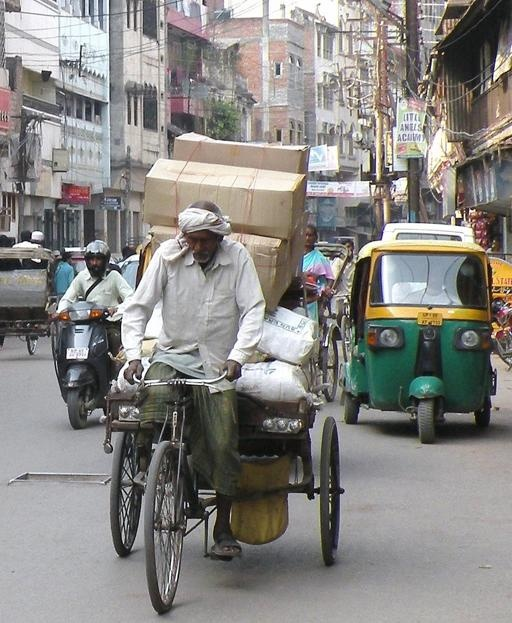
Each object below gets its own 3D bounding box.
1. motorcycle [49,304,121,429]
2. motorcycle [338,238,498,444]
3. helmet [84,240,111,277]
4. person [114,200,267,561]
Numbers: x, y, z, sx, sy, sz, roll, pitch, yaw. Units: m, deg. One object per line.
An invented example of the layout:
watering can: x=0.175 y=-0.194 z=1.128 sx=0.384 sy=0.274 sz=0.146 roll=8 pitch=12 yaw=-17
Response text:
motorcycle: x=-1.546 y=0.478 z=10.503 sx=0.574 sy=1.196 sz=1.707 roll=-1 pitch=-1 yaw=4
motorcycle: x=1.369 y=0.227 z=9.638 sx=1.295 sy=1.651 sz=1.177 roll=0 pitch=3 yaw=16
helmet: x=-1.456 y=-0.467 z=10.178 sx=0.193 sy=0.359 sz=0.315 roll=-1 pitch=8 yaw=-2
person: x=-0.280 y=0.311 z=4.826 sx=0.617 sy=1.555 sz=0.447 roll=-1 pitch=3 yaw=0
